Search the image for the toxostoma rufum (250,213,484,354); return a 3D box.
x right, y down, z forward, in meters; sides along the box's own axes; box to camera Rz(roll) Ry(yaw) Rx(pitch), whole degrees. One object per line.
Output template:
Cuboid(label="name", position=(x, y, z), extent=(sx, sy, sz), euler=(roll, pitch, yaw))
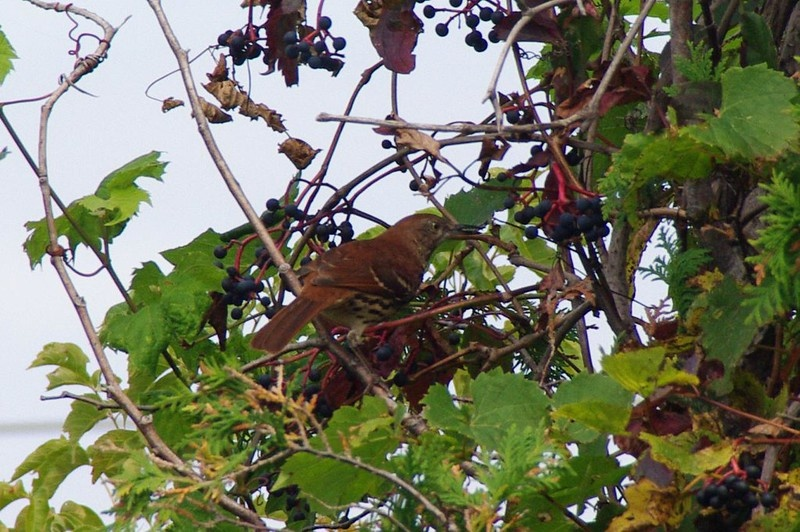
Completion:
Cuboid(label="toxostoma rufum", position=(-0.164, 0.081, 5.419), extent=(0.981, 0.598, 0.337), euler=(9, -22, -35))
